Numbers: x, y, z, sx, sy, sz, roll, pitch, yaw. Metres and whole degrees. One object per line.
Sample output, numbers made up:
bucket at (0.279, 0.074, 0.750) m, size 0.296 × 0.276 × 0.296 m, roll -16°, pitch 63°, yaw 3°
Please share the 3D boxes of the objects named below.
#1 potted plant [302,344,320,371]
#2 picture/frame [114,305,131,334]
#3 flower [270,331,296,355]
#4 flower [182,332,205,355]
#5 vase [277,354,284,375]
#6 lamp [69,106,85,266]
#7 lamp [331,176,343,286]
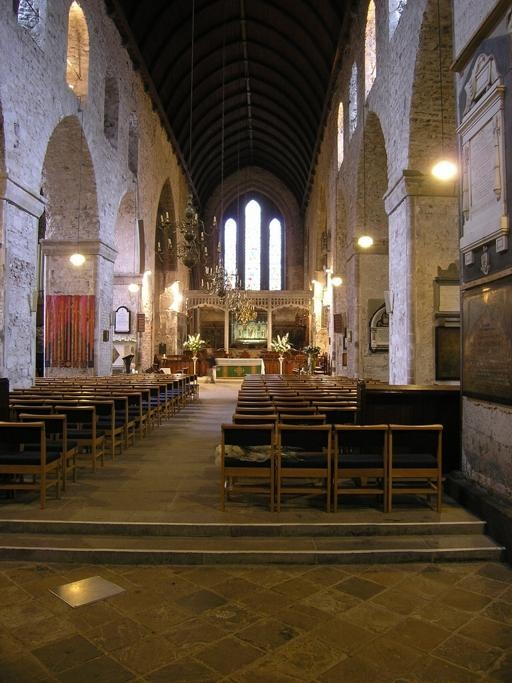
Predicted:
potted plant at (2.041, 0.640, 20.749) m, size 0.754 × 1.396 × 0.821 m, roll 1°, pitch -4°, yaw -3°
picture/frame at (-4.170, -0.647, 17.566) m, size 0.485 × 0.820 × 0.224 m, roll 0°, pitch -1°, yaw -14°
flower at (1.221, 0.204, 23.536) m, size 0.946 × 0.708 × 0.979 m, roll 6°, pitch -3°, yaw -33°
flower at (-2.369, -0.113, 21.874) m, size 0.931 × 1.286 × 1.036 m, roll 1°, pitch -6°, yaw -10°
vase at (1.076, 0.957, 24.173) m, size 0.236 × 0.803 × 0.710 m, roll 0°, pitch -1°, yaw 2°
lamp at (-4.159, -2.881, 13.086) m, size 0.351 × 2.248 × 1.156 m, roll 0°, pitch -1°, yaw -18°
lamp at (2.586, -3.502, 17.624) m, size 0.385 × 3.677 × 1.424 m, roll 0°, pitch -1°, yaw 8°
